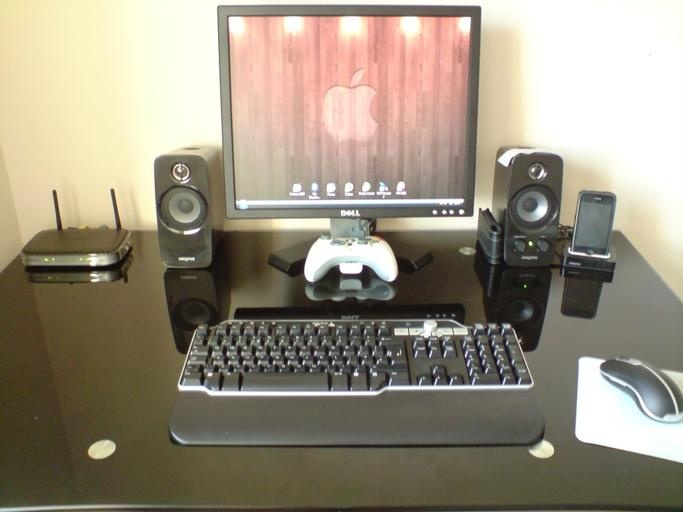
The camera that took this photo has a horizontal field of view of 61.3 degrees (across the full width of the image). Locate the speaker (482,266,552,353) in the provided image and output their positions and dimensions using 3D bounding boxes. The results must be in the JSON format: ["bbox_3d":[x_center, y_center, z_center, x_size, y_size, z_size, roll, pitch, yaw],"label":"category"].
[{"bbox_3d":[0.358,0.114,1.177,0.065,0.090,0.129,8,31,9],"label":"speaker"}]

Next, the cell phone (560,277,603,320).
[{"bbox_3d":[0.522,0.099,1.257,0.082,0.033,0.139,10,38,30],"label":"cell phone"}]

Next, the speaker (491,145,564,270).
[{"bbox_3d":[0.454,-0.132,1.379,0.129,0.271,0.169,-4,24,5],"label":"speaker"}]

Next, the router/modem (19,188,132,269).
[{"bbox_3d":[-0.656,-0.081,1.438,0.250,0.185,0.254,2,10,6],"label":"router/modem"}]

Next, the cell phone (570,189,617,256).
[{"bbox_3d":[0.589,-0.073,1.349,0.085,0.170,0.020,8,29,23],"label":"cell phone"}]

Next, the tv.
[{"bbox_3d":[0.014,-0.273,1.291,0.547,0.619,0.210,0,26,0],"label":"tv"}]
